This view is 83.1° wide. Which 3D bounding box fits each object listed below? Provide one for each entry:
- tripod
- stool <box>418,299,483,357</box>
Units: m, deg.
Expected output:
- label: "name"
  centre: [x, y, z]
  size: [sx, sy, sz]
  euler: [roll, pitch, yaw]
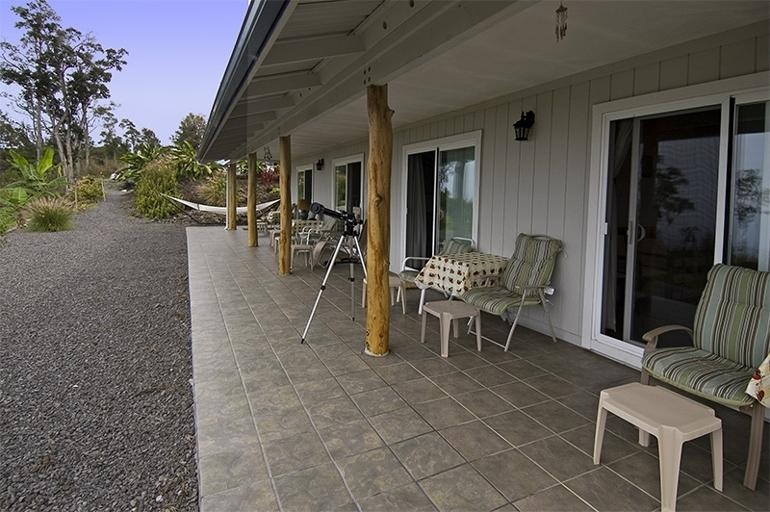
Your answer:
- label: "tripod"
  centre: [-0.562, 0.433, 5.682]
  size: [0.834, 2.183, 1.017]
  euler: [2, 8, -7]
- label: "stool"
  centre: [0.756, 0.837, 4.865]
  size: [0.612, 0.460, 0.620]
  euler: [3, 7, -12]
